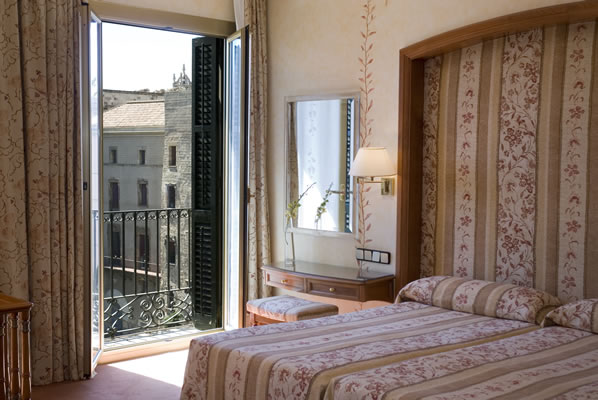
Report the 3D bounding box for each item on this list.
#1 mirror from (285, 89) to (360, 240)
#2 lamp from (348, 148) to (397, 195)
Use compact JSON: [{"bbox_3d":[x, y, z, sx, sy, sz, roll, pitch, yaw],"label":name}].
[{"bbox_3d":[0.204,-0.342,4.818,0.832,1.330,0.183,4,12,33],"label":"mirror"},{"bbox_3d":[0.635,-0.239,4.471,0.412,0.462,0.422,-2,2,-23],"label":"lamp"}]
